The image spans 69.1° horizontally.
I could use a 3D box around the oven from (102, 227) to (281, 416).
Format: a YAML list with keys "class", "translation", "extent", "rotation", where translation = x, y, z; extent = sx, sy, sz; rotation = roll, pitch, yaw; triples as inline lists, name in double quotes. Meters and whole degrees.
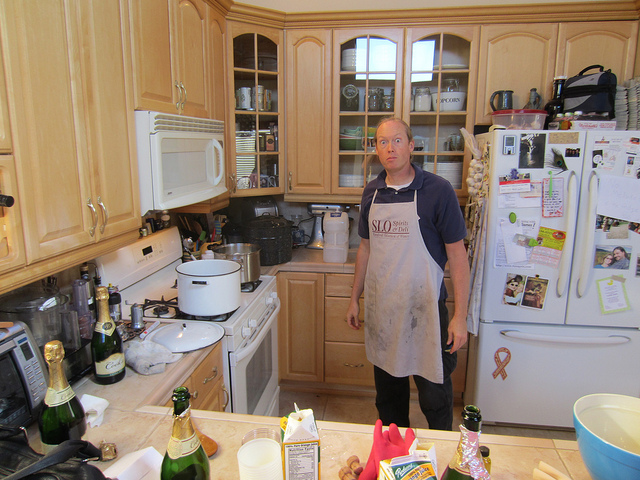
- class: "oven"
  translation: [-0.640, 0.576, 2.514]
  extent: [0.927, 1.083, 0.966]
  rotation: [-3, 14, -17]

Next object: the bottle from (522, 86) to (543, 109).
- class: "bottle"
  translation: [1.386, -0.931, 3.006]
  extent: [0.121, 0.129, 0.076]
  rotation: [-1, 13, -3]

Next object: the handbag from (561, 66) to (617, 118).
- class: "handbag"
  translation: [1.639, -0.926, 2.841]
  extent: [0.187, 0.282, 0.328]
  rotation: [-5, 13, -11]

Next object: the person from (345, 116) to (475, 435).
- class: "person"
  translation: [0.424, 0.230, 2.420]
  extent: [0.338, 1.694, 0.648]
  rotation: [-13, 18, -41]

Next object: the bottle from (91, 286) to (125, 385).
- class: "bottle"
  translation: [-0.788, 0.331, 1.685]
  extent: [0.123, 0.366, 0.104]
  rotation: [4, 14, 20]

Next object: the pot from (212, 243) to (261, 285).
- class: "pot"
  translation: [-0.420, 0.093, 2.628]
  extent: [0.282, 0.210, 0.261]
  rotation: [4, 11, -1]

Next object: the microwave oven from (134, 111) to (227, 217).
- class: "microwave oven"
  translation: [-0.679, -0.386, 2.249]
  extent: [0.214, 0.395, 0.651]
  rotation: [2, 10, 10]
